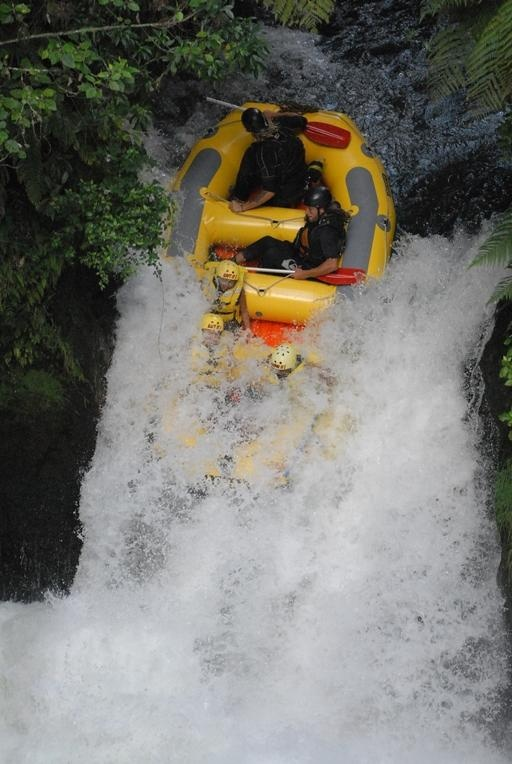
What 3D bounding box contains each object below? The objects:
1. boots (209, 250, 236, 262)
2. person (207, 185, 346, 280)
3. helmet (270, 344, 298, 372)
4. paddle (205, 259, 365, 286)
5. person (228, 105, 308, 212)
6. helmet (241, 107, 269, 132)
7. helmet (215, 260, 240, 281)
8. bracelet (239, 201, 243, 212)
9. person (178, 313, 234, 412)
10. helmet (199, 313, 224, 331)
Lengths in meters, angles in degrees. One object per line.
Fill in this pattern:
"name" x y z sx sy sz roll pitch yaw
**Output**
"boots" -0.357 -1.297 9.000 0.284 0.080 0.144 0 69 9
"person" 0.254 -1.362 8.712 1.203 1.183 0.702 6 38 -5
"helmet" 0.252 -0.236 8.462 0.228 0.187 0.239 -5 62 -2
"paddle" 0.297 -1.056 8.530 1.238 0.150 0.249 5 75 22
"person" 0.109 -2.233 8.664 0.583 0.989 0.727 40 83 11
"helmet" -0.011 -2.531 8.459 0.260 0.229 0.262 -9 63 -4
"helmet" -0.262 -1.052 8.321 0.172 0.209 0.187 3 101 -18
"bracelet" -0.149 -1.745 8.741 0.056 0.024 0.089 1 84 -10
"person" -0.452 -0.192 8.568 0.580 0.290 0.853 3 95 4
"helmet" -0.435 -0.573 8.592 0.214 0.175 0.150 8 29 -31
